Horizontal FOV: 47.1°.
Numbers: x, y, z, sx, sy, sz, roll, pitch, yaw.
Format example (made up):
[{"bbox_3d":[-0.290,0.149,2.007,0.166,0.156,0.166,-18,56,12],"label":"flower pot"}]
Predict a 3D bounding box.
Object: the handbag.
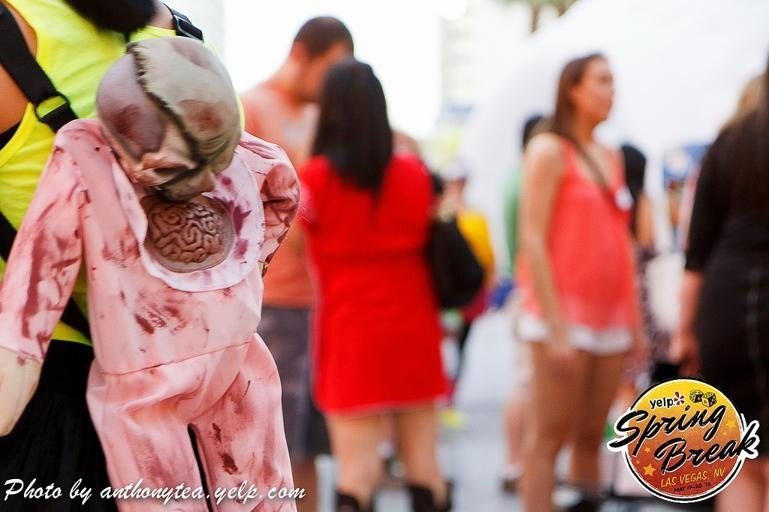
[{"bbox_3d":[0.203,0.019,2.642,0.165,0.263,0.064,-18,12,-9],"label":"handbag"}]
